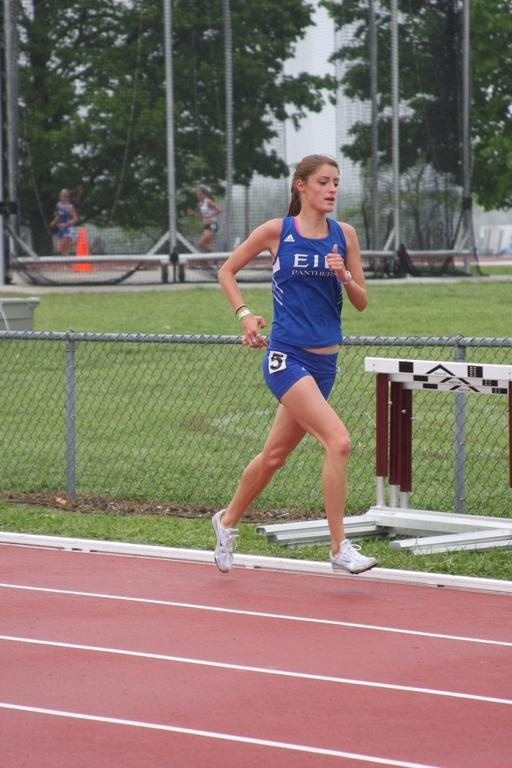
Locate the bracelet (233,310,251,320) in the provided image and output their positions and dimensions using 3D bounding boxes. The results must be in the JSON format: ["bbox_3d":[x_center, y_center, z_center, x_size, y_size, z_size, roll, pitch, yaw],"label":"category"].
[{"bbox_3d":[-0.046,-0.255,4.695,0.035,0.050,0.052,-31,10,1],"label":"bracelet"}]

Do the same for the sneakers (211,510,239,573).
[{"bbox_3d":[-0.111,0.613,4.975,0.105,0.256,0.086,-12,-10,44],"label":"sneakers"}]

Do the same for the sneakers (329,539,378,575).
[{"bbox_3d":[0.343,0.633,4.734,0.210,0.123,0.085,0,9,32],"label":"sneakers"}]

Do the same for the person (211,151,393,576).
[{"bbox_3d":[0.142,-0.052,4.799,0.642,1.586,0.464,1,7,20],"label":"person"}]
